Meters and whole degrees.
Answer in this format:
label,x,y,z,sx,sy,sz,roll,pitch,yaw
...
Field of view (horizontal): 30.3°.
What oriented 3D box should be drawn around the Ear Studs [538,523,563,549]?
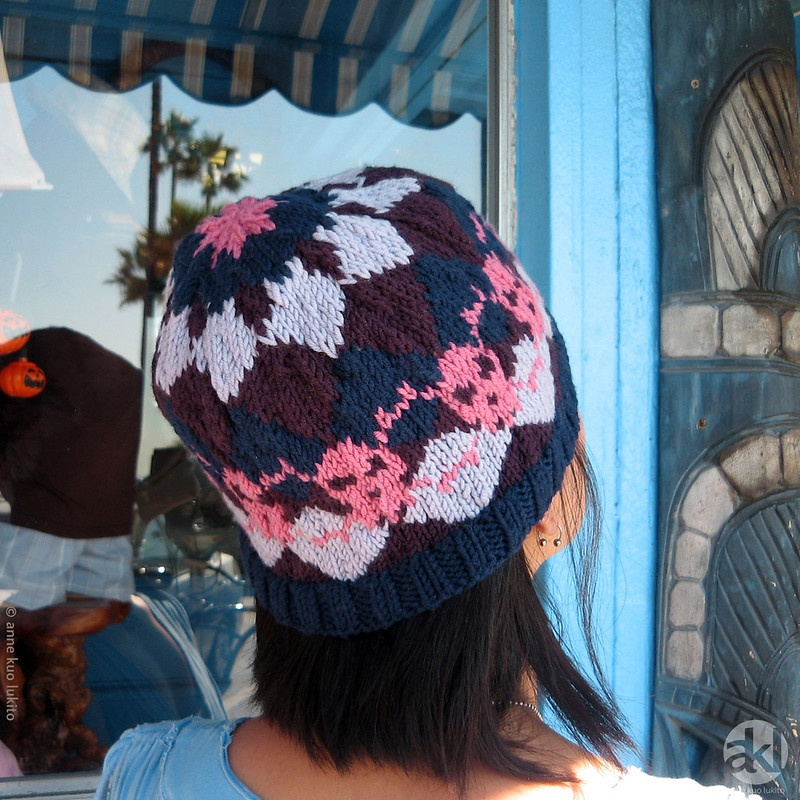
label,x,y,z,sx,sy,sz,roll,pitch,yaw
Ear Studs,0.313,0.284,3.108,0.042,0.074,0.021,4,-10,-22
